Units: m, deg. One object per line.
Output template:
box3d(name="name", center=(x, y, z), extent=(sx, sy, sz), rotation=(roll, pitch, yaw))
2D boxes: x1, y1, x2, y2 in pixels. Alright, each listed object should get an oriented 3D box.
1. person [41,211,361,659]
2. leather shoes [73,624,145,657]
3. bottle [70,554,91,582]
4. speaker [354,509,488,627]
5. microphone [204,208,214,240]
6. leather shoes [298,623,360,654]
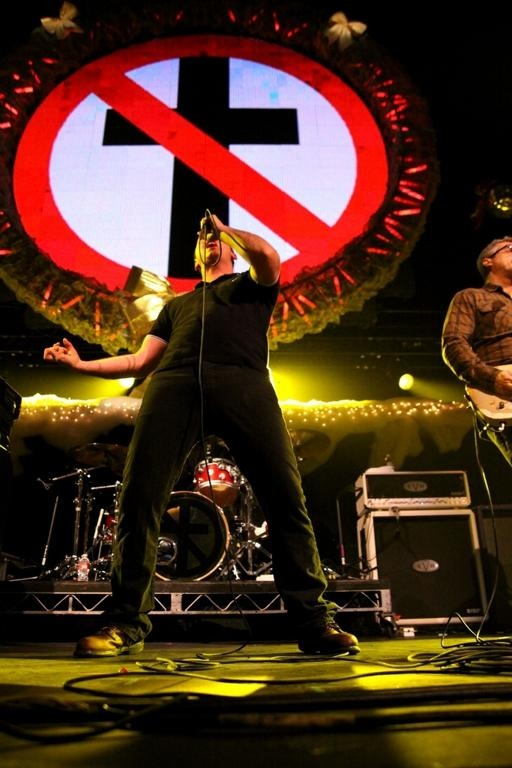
box3d(name="person", center=(-0.171, 0.084, 1.925), extent=(0.911, 1.329, 0.430), rotation=(-5, -22, 10))
box3d(name="leather shoes", center=(-0.359, 0.684, 1.715), extent=(0.076, 0.083, 0.188), rotation=(-25, -41, 34))
box3d(name="bottle", center=(-1.160, 1.229, 4.350), extent=(0.146, 0.214, 0.082), rotation=(-3, -22, 22))
box3d(name="speaker", center=(1.025, 1.195, 4.446), extent=(0.977, 0.851, 0.626), rotation=(-2, -31, 1))
box3d(name="microphone", center=(-0.137, -0.475, 1.958), extent=(0.031, 0.084, 0.036), rotation=(-6, 17, -5))
box3d(name="leather shoes", center=(0.179, 0.694, 1.773), extent=(0.184, 0.080, 0.065), rotation=(-9, -41, 15))
